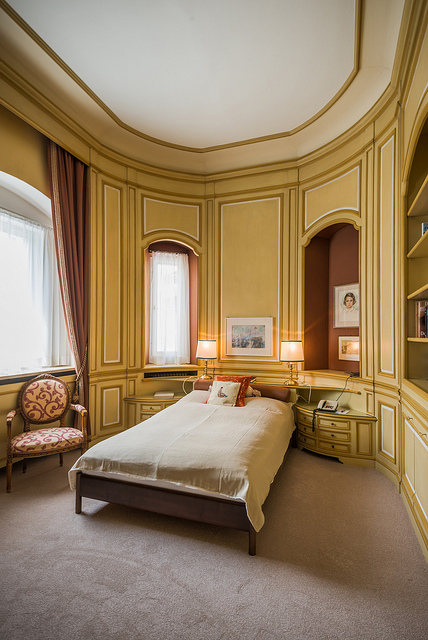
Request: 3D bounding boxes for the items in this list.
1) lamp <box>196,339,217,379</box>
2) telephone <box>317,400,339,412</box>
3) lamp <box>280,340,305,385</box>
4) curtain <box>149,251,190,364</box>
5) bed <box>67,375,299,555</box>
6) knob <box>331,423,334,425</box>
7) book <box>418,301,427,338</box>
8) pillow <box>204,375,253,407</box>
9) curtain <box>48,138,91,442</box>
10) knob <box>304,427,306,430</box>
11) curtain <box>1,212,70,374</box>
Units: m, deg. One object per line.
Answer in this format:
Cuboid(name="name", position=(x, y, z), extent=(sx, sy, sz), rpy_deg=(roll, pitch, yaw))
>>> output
Cuboid(name="lamp", position=(-0.076, 0.500, 5.251), extent=(0.245, 0.508, 0.298), rpy_deg=(1, 0, 28))
Cuboid(name="telephone", position=(1.191, 0.912, 4.395), extent=(0.198, 0.083, 0.306), rpy_deg=(1, 1, 17))
Cuboid(name="lamp", position=(0.892, 0.484, 4.777), extent=(0.278, 0.561, 0.297), rpy_deg=(1, -15, 17))
Cuboid(name="curtain", position=(-0.624, -0.172, 5.641), extent=(0.517, 1.511, 0.127), rpy_deg=(0, 0, -16))
Cuboid(name="bed", position=(0.035, 0.992, 3.448), extent=(0.879, 0.653, 1.559), rpy_deg=(0, -1, 22))
Cuboid(name="knob", position=(1.190, 1.056, 4.182), extent=(0.021, 0.025, 0.024), rpy_deg=(-1, 4, 13))
Cuboid(name="book", position=(1.433, -0.005, 2.866), extent=(0.025, 0.161, 0.110), rpy_deg=(0, 0, 6))
Cuboid(name="pillow", position=(0.241, 0.730, 4.443), extent=(0.103, 0.363, 0.339), rpy_deg=(28, -17, -28))
Cuboid(name="curtain", position=(-1.449, -0.529, 4.404), extent=(0.419, 2.733, 0.098), rpy_deg=(-6, -3, 9))
Cuboid(name="knob", position=(0.982, 1.184, 4.498), extent=(0.006, 0.029, 0.027), rpy_deg=(4, 1, -24))
Cuboid(name="curtain", position=(-1.890, -0.267, 4.373), extent=(0.075, 1.576, 0.907), rpy_deg=(0, 0, 20))
